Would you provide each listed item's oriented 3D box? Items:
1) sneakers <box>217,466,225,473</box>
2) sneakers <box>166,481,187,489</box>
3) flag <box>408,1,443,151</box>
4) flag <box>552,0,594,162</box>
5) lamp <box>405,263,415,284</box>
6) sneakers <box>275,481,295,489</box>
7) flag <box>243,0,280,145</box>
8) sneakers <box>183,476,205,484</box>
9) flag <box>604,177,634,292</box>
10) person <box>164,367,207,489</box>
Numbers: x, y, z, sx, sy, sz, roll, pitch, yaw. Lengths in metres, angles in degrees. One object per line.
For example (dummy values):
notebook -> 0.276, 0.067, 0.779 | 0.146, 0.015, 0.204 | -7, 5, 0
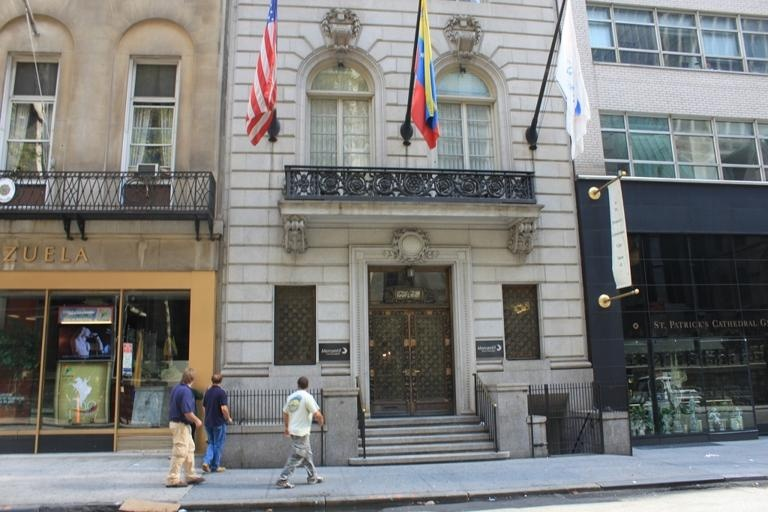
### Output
sneakers -> -5.060, 6.681, 25.552 | 0.196, 0.140, 0.120 | -2, -4, -7
sneakers -> -6.039, 6.689, 23.986 | 0.483, 0.211, 0.255 | 4, -8, -17
flag -> 1.434, -6.306, 28.571 | 0.879, 5.017, 1.823 | -2, -8, 4
flag -> 6.583, -6.217, 28.545 | 0.984, 5.360, 0.648 | 2, -9, -22
lamp -> 1.005, 0.674, 29.797 | 0.358, 0.688, 0.335 | -1, -8, -1
sneakers -> -2.878, 6.699, 24.007 | 0.567, 0.252, 0.213 | 5, -3, -20
flag -> -4.166, -6.295, 28.143 | 0.963, 4.964, 1.688 | 0, -8, -11
sneakers -> -5.608, 6.633, 24.285 | 0.586, 0.266, 0.221 | -1, 0, -9
flag -> 8.356, -0.681, 29.038 | 1.217, 4.366, 0.127 | -10, 27, 8
person -> -5.925, 5.054, 24.109 | 0.749, 3.392, 0.904 | 1, -9, -14
